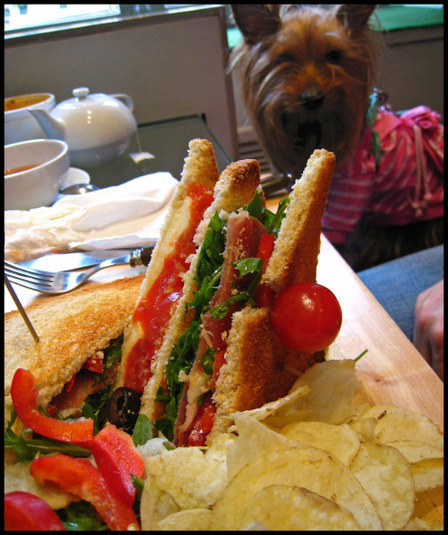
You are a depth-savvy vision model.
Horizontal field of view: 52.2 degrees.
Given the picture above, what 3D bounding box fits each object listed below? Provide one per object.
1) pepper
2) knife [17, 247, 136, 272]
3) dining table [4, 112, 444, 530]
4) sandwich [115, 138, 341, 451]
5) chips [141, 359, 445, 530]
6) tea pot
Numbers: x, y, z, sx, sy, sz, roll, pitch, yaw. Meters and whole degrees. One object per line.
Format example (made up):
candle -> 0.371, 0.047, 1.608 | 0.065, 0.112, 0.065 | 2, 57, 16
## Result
pepper -> -0.225, 0.273, 0.671 | 0.156, 0.102, 0.233 | -17, 29, -33
knife -> -0.382, -0.021, 1.187 | 0.120, 0.017, 0.143 | 10, 20, 40
dining table -> -0.022, 0.107, 0.871 | 0.534, 0.347, 0.728 | 2, 38, 2
sandwich -> 0.014, 0.006, 0.842 | 0.315, 0.528, 0.215 | 13, -3, 9
chips -> 0.101, 0.269, 0.613 | 0.269, 0.092, 0.263 | -8, 10, 22
tea pot -> -0.436, -0.461, 1.545 | 0.313, 0.247, 0.239 | 14, 29, 37
